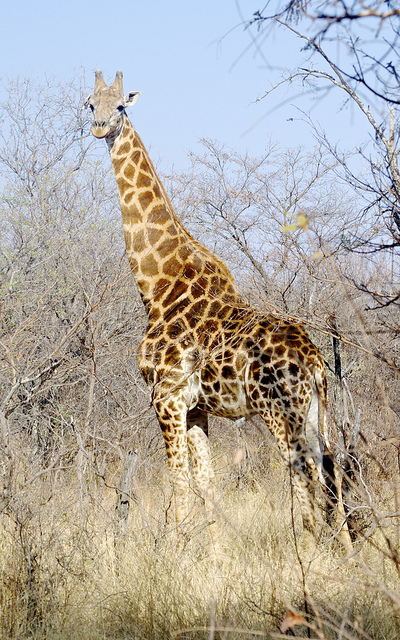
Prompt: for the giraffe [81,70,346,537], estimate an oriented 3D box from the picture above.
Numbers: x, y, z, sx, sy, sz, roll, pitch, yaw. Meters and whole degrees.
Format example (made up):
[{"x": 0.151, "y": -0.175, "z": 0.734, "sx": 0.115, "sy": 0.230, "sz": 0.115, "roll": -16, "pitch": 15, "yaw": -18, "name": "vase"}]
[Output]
[{"x": 0.052, "y": -0.372, "z": 6.495, "sx": 1.931, "sy": 3.916, "sz": 0.803, "roll": -6, "pitch": -18, "yaw": 26, "name": "giraffe"}]
